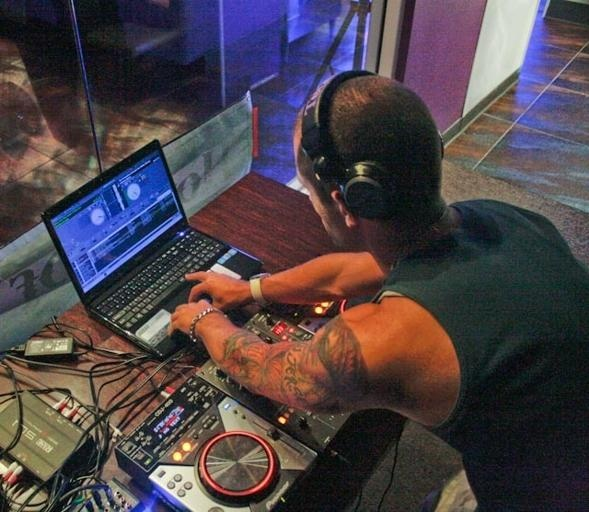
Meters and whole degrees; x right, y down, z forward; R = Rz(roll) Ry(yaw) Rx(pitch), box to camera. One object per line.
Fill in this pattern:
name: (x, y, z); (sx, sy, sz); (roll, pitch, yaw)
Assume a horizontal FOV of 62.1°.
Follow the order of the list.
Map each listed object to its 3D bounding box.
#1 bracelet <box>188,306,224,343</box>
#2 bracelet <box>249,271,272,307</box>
bracelet: (-0.222, 0.160, 1.150); (0.024, 0.082, 0.083); (43, 20, 3)
bracelet: (-0.100, 0.089, 1.326); (0.065, 0.075, 0.083); (-10, 37, -9)
